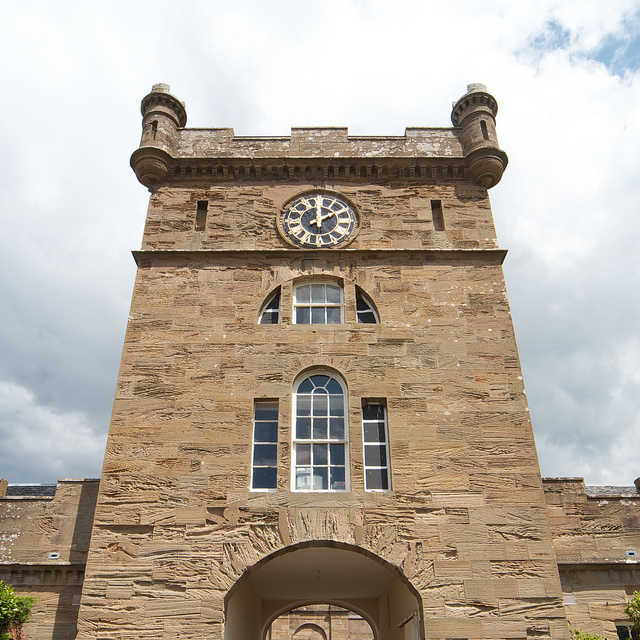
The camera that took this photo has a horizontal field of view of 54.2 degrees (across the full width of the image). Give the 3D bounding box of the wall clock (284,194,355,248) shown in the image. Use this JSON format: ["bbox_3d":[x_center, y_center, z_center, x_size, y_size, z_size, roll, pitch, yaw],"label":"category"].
[{"bbox_3d":[-0.026,-2.603,16.723,2.261,1.929,0.215,0,-40,-2],"label":"wall clock"}]
